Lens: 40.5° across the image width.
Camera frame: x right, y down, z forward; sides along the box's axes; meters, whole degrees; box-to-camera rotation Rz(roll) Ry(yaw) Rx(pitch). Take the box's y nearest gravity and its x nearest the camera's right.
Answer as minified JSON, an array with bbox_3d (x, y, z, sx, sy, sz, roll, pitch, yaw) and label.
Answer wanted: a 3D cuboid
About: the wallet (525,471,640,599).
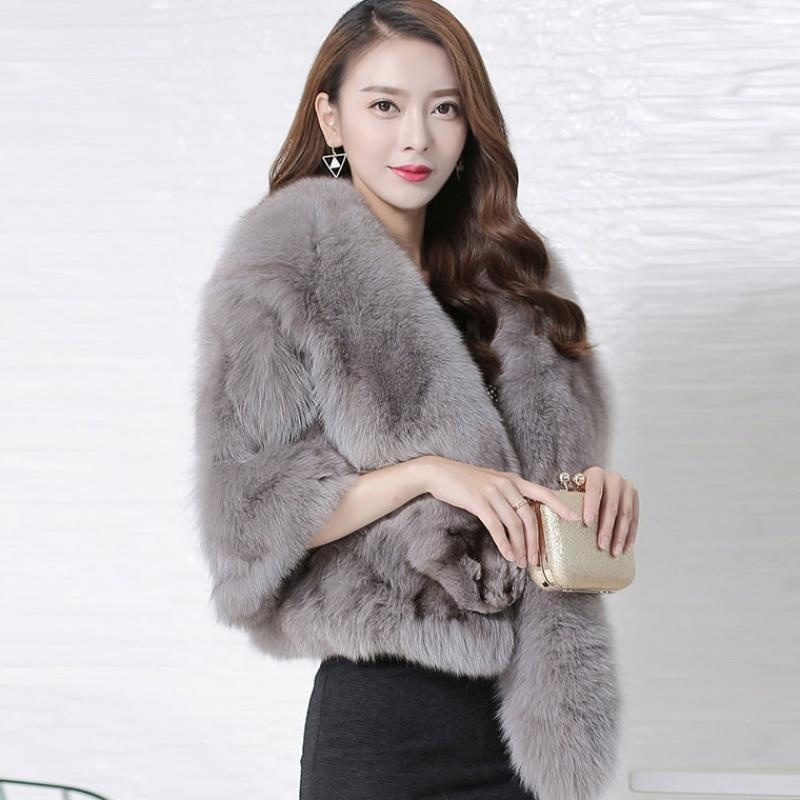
[{"bbox_3d":[0.338,0.251,2.018,0.097,0.211,0.259,-7,-40,48],"label":"wallet"}]

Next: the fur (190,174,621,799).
[{"bbox_3d":[0.015,0.161,2.124,0.822,1.192,0.448,1,9,-8],"label":"fur"}]
